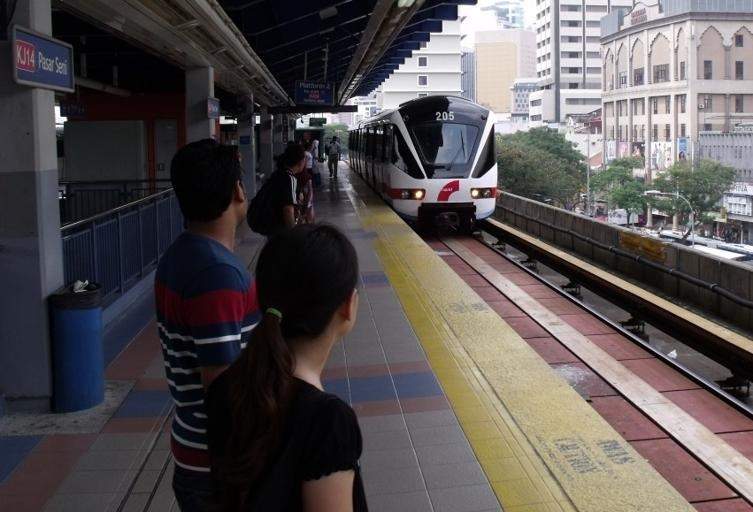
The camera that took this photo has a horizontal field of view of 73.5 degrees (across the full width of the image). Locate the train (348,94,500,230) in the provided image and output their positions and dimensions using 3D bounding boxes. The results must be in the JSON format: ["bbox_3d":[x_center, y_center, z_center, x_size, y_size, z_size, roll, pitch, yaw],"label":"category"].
[{"bbox_3d":[1.314,-3.352,17.610,2.615,4.244,5.359,-8,15,-36],"label":"train"}]

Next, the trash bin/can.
[{"bbox_3d":[-3.046,0.921,5.166,0.501,1.262,0.403,-4,12,-21],"label":"trash bin/can"}]
